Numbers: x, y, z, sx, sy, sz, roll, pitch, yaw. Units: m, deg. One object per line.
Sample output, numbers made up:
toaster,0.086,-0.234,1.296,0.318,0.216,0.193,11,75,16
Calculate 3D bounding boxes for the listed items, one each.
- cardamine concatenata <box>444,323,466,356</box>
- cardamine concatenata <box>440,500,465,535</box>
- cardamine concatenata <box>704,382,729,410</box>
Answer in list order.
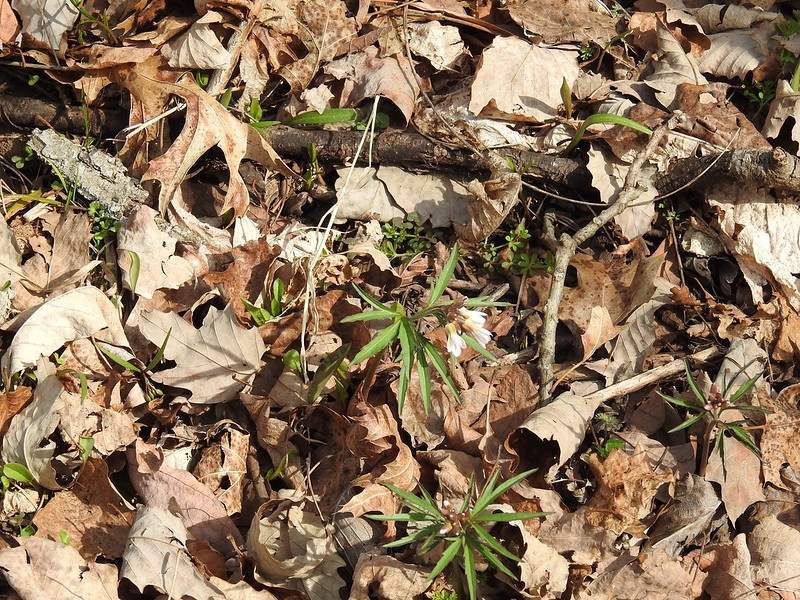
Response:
cardamine concatenata,0.267,0.196,4.038,0.096,0.052,0.169,-6,87,-16
cardamine concatenata,0.266,1.086,4.036,0.125,0.131,0.146,5,63,-2
cardamine concatenata,1.709,0.518,4.362,0.116,0.104,0.077,-43,37,-24
